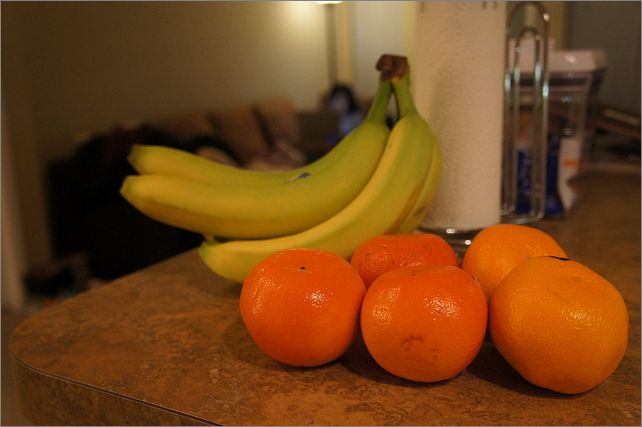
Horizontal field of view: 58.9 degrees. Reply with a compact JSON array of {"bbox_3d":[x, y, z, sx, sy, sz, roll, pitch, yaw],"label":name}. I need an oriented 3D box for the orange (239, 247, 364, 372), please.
[{"bbox_3d":[-0.029,0.131,0.885,0.161,0.128,0.171,-6,16,-22],"label":"orange"}]

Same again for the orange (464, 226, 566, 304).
[{"bbox_3d":[0.310,0.055,0.926,0.125,0.125,0.124,-10,18,-5],"label":"orange"}]

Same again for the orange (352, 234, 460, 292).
[{"bbox_3d":[0.128,0.057,0.898,0.101,0.062,0.108,4,12,36],"label":"orange"}]

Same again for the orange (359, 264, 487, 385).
[{"bbox_3d":[0.155,0.133,0.800,0.160,0.152,0.162,-1,3,14],"label":"orange"}]
